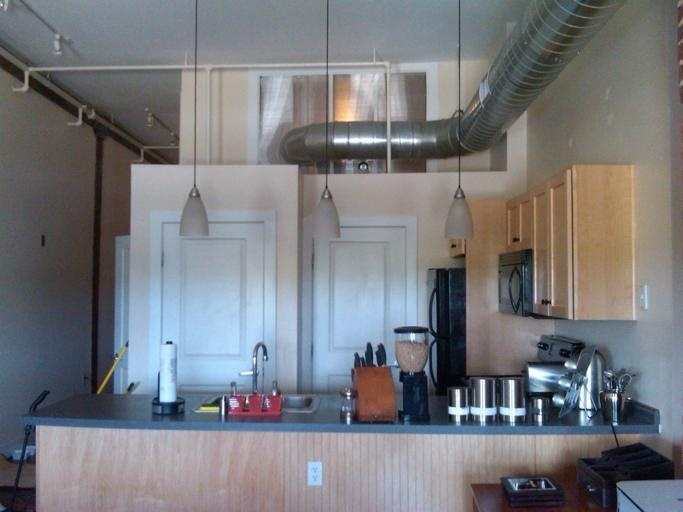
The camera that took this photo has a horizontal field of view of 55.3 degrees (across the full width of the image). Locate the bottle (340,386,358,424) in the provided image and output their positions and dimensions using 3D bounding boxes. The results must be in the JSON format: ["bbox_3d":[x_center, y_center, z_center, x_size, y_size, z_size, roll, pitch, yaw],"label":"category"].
[{"bbox_3d":[0.039,1.022,4.431,0.104,0.229,0.174,0,-7,0],"label":"bottle"}]

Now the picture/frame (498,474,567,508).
[{"bbox_3d":[1.179,1.471,4.052,0.368,0.148,0.215,-2,-8,13],"label":"picture/frame"}]

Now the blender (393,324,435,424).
[{"bbox_3d":[0.481,0.808,4.466,0.229,0.642,0.243,-1,-7,6],"label":"blender"}]

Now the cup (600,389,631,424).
[{"bbox_3d":[1.853,1.013,4.369,0.207,0.222,0.122,1,-7,-8],"label":"cup"}]

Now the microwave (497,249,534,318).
[{"bbox_3d":[1.400,0.211,5.252,0.236,0.472,0.525,1,-5,2],"label":"microwave"}]

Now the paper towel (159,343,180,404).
[{"bbox_3d":[-1.247,0.823,4.597,0.195,0.424,0.115,-5,-9,37],"label":"paper towel"}]

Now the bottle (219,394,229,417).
[{"bbox_3d":[-0.815,1.049,4.537,0.056,0.129,0.102,0,-7,0],"label":"bottle"}]
